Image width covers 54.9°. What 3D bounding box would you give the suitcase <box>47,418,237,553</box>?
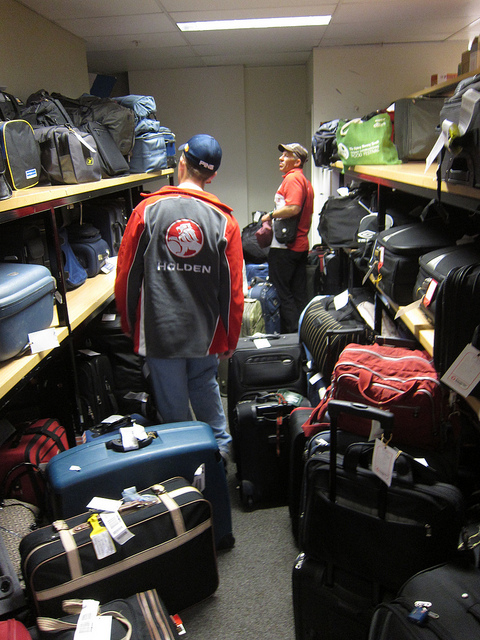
[{"bbox_3d":[-0.358,0.660,1.688,0.597,0.559,0.268,-11,26,-18],"label":"suitcase"}]

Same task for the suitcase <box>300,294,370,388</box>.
[{"bbox_3d":[0.553,0.074,2.600,0.326,0.355,0.453,-1,12,-14],"label":"suitcase"}]

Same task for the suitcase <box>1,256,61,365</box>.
[{"bbox_3d":[-0.597,-0.025,1.395,0.201,0.192,0.276,-6,18,-17],"label":"suitcase"}]

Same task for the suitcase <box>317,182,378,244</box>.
[{"bbox_3d":[0.718,-0.683,3.011,0.301,0.365,0.376,-3,20,0],"label":"suitcase"}]

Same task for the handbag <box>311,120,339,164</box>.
[{"bbox_3d":[0.715,-1.466,3.812,0.192,0.365,0.284,8,40,2],"label":"handbag"}]

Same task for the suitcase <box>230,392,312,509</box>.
[{"bbox_3d":[0.162,0.530,2.232,0.400,0.649,0.381,3,30,9],"label":"suitcase"}]

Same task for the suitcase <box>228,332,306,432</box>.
[{"bbox_3d":[0.133,0.295,2.762,0.445,0.871,0.496,-2,15,2],"label":"suitcase"}]

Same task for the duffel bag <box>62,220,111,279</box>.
[{"bbox_3d":[-0.901,-0.417,2.748,0.258,0.247,0.266,3,24,12],"label":"duffel bag"}]

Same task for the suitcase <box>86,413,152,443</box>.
[{"bbox_3d":[-0.506,0.433,1.873,0.206,0.056,0.130,-15,9,-15],"label":"suitcase"}]

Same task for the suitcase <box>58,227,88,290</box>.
[{"bbox_3d":[-0.892,-0.306,2.379,0.133,0.273,0.173,6,27,11],"label":"suitcase"}]

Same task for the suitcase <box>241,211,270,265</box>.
[{"bbox_3d":[0.162,-0.952,5.359,0.301,0.570,0.405,-10,16,-19],"label":"suitcase"}]

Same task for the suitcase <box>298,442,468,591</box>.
[{"bbox_3d":[0.345,0.509,1.193,0.384,0.337,0.193,6,4,41],"label":"suitcase"}]

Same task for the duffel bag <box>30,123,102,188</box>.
[{"bbox_3d":[-0.849,-0.775,2.189,0.318,0.324,0.245,-1,11,35],"label":"duffel bag"}]

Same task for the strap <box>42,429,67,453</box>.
[{"bbox_3d":[-0.705,0.456,1.734,0.067,0.070,0.050,-38,5,19],"label":"strap"}]

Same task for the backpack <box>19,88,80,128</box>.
[{"bbox_3d":[-1.029,-1.099,2.499,0.324,0.182,0.235,31,45,32],"label":"backpack"}]

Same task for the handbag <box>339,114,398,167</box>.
[{"bbox_3d":[0.686,-0.974,2.521,0.083,0.260,0.388,-27,27,-35],"label":"handbag"}]

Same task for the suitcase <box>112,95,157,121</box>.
[{"bbox_3d":[-0.738,-1.489,3.202,0.173,0.115,0.228,-17,36,-32],"label":"suitcase"}]

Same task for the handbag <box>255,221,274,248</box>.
[{"bbox_3d":[0.224,-0.779,4.286,0.147,0.251,0.267,-2,20,2],"label":"handbag"}]

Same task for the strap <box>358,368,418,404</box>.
[{"bbox_3d":[0.399,0.172,1.287,0.095,0.032,0.100,-27,26,-35],"label":"strap"}]

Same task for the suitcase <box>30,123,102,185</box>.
[{"bbox_3d":[-0.851,-0.777,2.181,0.306,0.320,0.237,7,21,30],"label":"suitcase"}]

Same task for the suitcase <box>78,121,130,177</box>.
[{"bbox_3d":[-0.825,-0.986,2.736,0.177,0.351,0.241,-15,12,26],"label":"suitcase"}]

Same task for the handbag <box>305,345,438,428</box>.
[{"bbox_3d":[0.398,0.177,1.356,0.319,0.124,0.245,-3,9,16],"label":"handbag"}]

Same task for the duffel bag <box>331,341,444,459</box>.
[{"bbox_3d":[0.469,0.217,1.414,0.327,0.234,0.303,4,17,26],"label":"duffel bag"}]

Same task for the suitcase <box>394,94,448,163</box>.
[{"bbox_3d":[0.937,-0.978,2.282,0.216,0.294,0.305,4,38,22],"label":"suitcase"}]

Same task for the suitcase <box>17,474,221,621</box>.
[{"bbox_3d":[-0.345,0.649,1.310,0.406,0.315,0.160,-17,15,-27],"label":"suitcase"}]

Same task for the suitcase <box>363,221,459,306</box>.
[{"bbox_3d":[0.606,-0.236,1.721,0.283,0.212,0.306,-2,20,-3],"label":"suitcase"}]

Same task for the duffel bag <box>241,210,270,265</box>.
[{"bbox_3d":[0.180,-0.944,5.354,0.317,0.596,0.425,-11,14,-18],"label":"duffel bag"}]

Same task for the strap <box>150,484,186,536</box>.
[{"bbox_3d":[-0.198,0.574,1.373,0.127,0.122,0.049,-27,26,-29],"label":"strap"}]

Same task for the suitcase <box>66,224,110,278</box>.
[{"bbox_3d":[-0.925,-0.412,2.748,0.333,0.265,0.337,-8,25,-26],"label":"suitcase"}]

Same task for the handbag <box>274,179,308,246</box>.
[{"bbox_3d":[0.442,-0.887,4.044,0.331,0.318,0.203,-27,-7,10],"label":"handbag"}]

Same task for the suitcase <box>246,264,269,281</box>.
[{"bbox_3d":[0.189,-0.526,4.986,0.287,0.216,0.172,-1,15,1],"label":"suitcase"}]

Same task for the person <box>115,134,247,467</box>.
[{"bbox_3d":[-0.242,0.057,2.090,0.527,1.649,0.513,-2,19,0],"label":"person"}]

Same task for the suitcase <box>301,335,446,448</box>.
[{"bbox_3d":[0.393,0.216,1.389,0.348,0.264,0.269,-1,13,8],"label":"suitcase"}]
